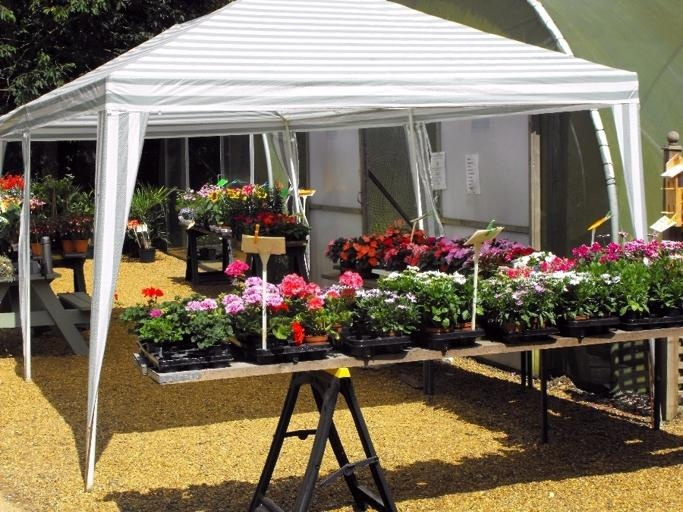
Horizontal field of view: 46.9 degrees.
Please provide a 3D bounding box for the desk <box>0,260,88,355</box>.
[{"bbox_3d":[-3.183,0.573,8.516,0.893,0.893,1.383,-6,5,-18],"label":"desk"}]

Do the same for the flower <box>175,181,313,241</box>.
[{"bbox_3d":[-1.305,-0.681,10.869,0.849,0.928,2.751,-6,6,-34],"label":"flower"}]

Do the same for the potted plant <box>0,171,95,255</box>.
[{"bbox_3d":[-3.581,-0.517,9.664,1.533,1.069,1.551,-2,7,-18],"label":"potted plant"}]

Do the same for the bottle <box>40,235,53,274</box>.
[{"bbox_3d":[-3.055,-0.003,8.149,0.096,0.399,0.299,-6,5,-21],"label":"bottle"}]
